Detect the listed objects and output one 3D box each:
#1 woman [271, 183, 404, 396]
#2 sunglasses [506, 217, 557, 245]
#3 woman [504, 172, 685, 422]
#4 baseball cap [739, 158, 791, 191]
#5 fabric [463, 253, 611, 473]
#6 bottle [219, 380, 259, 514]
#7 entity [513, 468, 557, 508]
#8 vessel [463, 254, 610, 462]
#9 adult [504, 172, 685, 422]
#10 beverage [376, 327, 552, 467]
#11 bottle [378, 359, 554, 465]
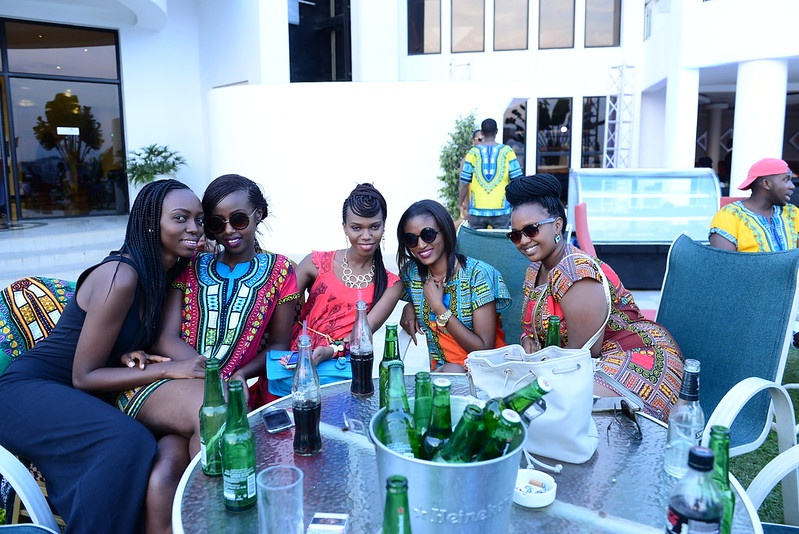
[{"bbox_3d":[-0.289,0.159,2.827,0.649,1.096,0.770,17,15,27],"label":"woman"},{"bbox_3d":[0.628,-0.206,2.643,0.145,0.048,0.145,-26,1,-42],"label":"sunglasses"},{"bbox_3d":[0.847,0.181,2.755,0.739,1.261,0.837,-10,2,-22],"label":"woman"},{"bbox_3d":[2.611,-0.665,3.813,0.275,0.212,0.308,6,15,36],"label":"baseball cap"},{"bbox_3d":[0.519,0.363,1.895,0.253,0.560,0.454,-18,-1,-35],"label":"fabric"},{"bbox_3d":[-0.516,0.543,1.684,0.111,0.367,0.201,-7,13,-17],"label":"bottle"},{"bbox_3d":[0.411,0.682,1.666,0.146,0.056,0.151,0,8,19],"label":"entity"},{"bbox_3d":[0.476,0.352,1.916,0.469,0.614,0.263,-7,1,44],"label":"vessel"},{"bbox_3d":[0.862,0.194,2.748,0.785,1.258,0.816,-7,-3,-15],"label":"adult"},{"bbox_3d":[0.182,0.372,1.573,0.357,0.378,0.285,11,11,29],"label":"beverage"},{"bbox_3d":[0.172,0.394,1.544,0.346,0.350,0.283,8,4,13],"label":"bottle"}]
